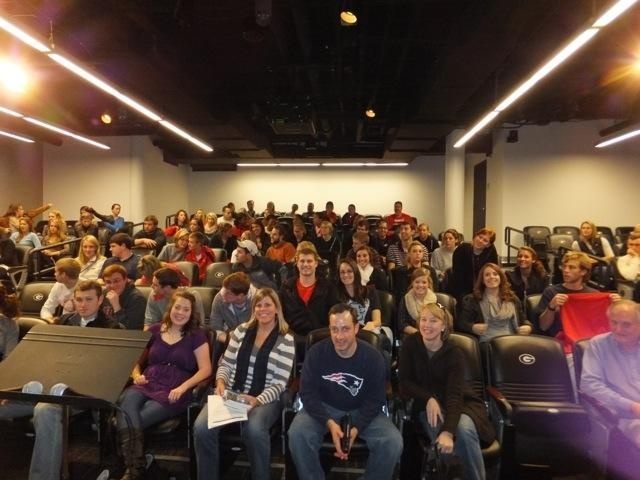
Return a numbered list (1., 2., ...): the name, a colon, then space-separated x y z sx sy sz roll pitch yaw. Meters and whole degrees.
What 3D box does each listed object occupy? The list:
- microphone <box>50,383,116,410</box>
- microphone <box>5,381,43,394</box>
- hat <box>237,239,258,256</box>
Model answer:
1. microphone: -1.714 1.125 3.301 0.500 0.192 0.129 3 -2 5
2. microphone: -2.127 1.057 3.319 0.247 0.090 0.066 3 -2 7
3. hat: -0.893 0.107 5.708 0.211 0.112 0.150 36 1 -10
